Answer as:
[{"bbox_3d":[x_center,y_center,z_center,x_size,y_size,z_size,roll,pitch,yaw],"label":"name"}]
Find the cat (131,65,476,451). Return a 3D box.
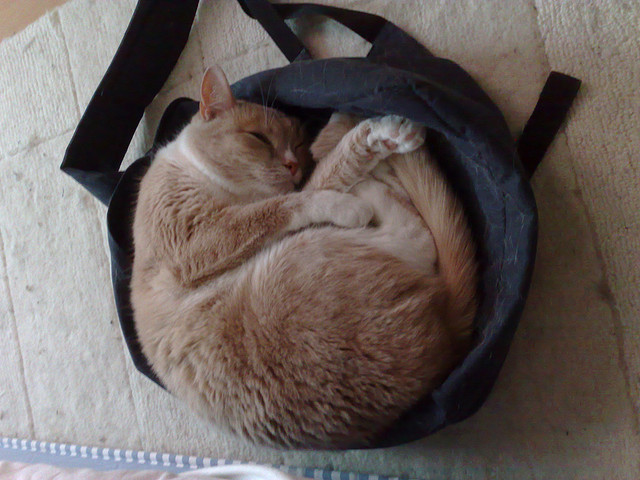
[{"bbox_3d":[-0.048,0.052,1.562,0.619,0.270,0.708,9,81,21],"label":"cat"}]
